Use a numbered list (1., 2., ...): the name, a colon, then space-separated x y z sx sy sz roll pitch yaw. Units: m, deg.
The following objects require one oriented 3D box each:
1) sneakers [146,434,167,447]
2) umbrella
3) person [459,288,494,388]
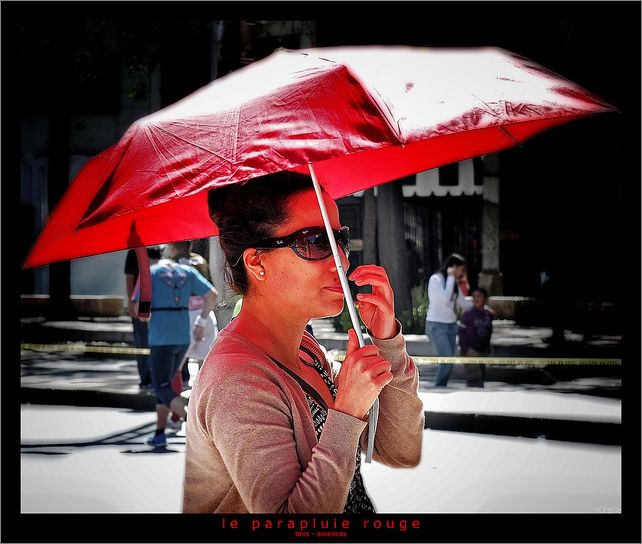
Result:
1. sneakers: -1.517 1.547 8.411 0.144 0.111 0.110 -5 -4 26
2. umbrella: -0.071 -0.485 4.906 2.228 1.572 2.359 -10 3 3
3. person: 1.837 0.883 10.575 0.400 1.475 0.370 1 16 16
